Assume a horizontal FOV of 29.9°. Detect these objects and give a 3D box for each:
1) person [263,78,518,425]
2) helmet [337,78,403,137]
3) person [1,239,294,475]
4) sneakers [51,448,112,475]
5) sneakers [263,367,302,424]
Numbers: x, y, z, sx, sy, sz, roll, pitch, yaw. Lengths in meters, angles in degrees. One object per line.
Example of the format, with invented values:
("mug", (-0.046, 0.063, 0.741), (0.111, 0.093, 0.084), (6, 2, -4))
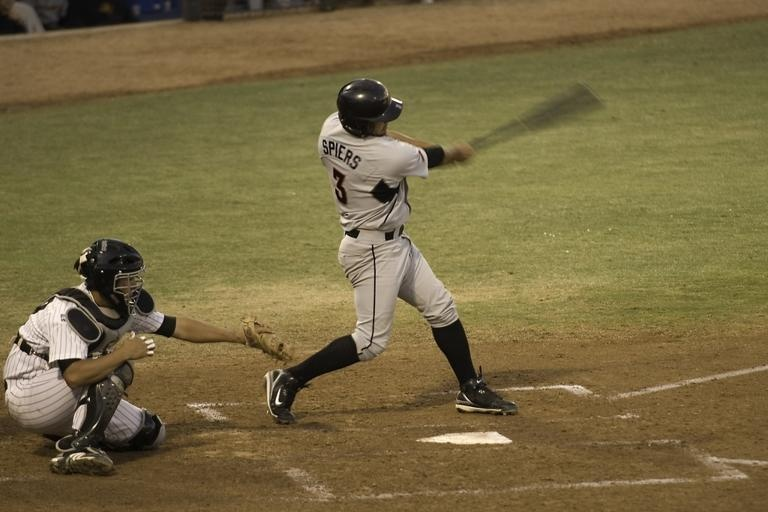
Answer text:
("person", (-0.024, -0.036, 12.178), (1.913, 2.899, 0.774), (-7, 17, -2))
("helmet", (-0.156, -1.279, 12.058), (0.666, 0.321, 0.473), (-9, 37, -6))
("person", (-2.162, 0.803, 11.632), (1.865, 1.832, 0.722), (-7, 17, -6))
("sneakers", (-2.390, 1.660, 11.539), (0.476, 0.149, 0.217), (1, 20, 2))
("sneakers", (-0.822, 1.166, 12.240), (0.312, 0.487, 0.197), (-10, 2, 11))
